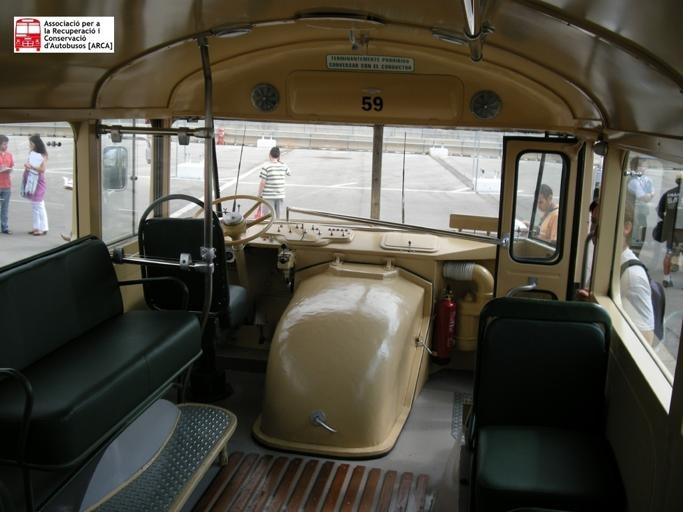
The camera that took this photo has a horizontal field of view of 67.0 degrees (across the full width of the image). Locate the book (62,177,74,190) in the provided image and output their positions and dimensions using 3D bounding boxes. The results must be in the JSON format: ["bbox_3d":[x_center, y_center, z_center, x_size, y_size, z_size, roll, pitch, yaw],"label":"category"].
[{"bbox_3d":[-2.043,-0.544,3.878,0.067,0.092,0.069,-4,9,-27],"label":"book"}]

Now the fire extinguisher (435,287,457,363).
[{"bbox_3d":[0.981,0.670,4.895,0.176,0.671,0.319,6,13,17],"label":"fire extinguisher"}]

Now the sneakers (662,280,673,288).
[{"bbox_3d":[2.045,0.173,3.257,0.047,0.060,0.145,-5,-3,27],"label":"sneakers"}]

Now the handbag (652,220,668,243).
[{"bbox_3d":[1.915,-0.149,3.121,0.054,0.098,0.105,-7,38,22],"label":"handbag"}]
